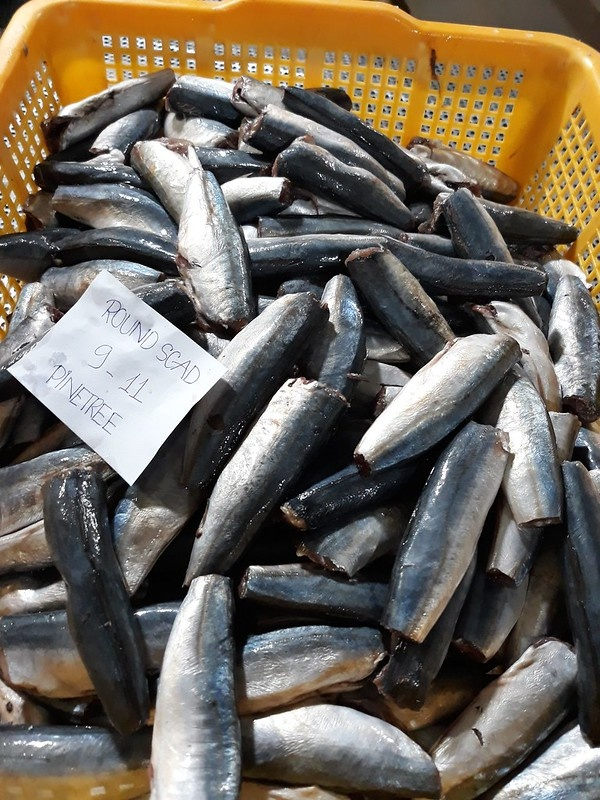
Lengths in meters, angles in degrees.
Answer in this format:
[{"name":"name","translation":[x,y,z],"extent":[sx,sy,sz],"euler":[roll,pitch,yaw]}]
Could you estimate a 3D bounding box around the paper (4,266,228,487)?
[{"name":"paper","translation":[-0.308,-0.033,1.528],"extent":[0.456,0.063,0.387],"euler":[39,87,11]}]
